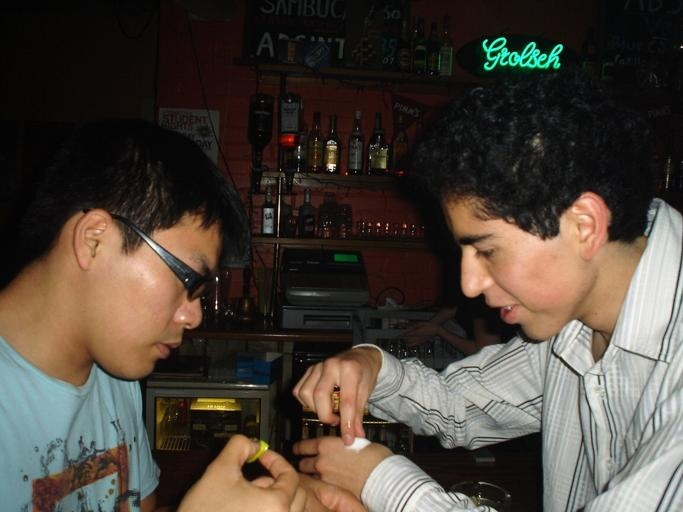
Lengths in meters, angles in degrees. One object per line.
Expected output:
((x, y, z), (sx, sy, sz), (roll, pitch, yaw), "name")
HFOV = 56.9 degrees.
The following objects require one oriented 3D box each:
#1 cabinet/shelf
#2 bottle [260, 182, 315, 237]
((-0.107, -0.359, 3.544), (1.997, 1.830, 0.597), (1, -35, -5), "cabinet/shelf")
((-0.358, -0.300, 4.156), (0.367, 0.368, 0.130), (1, 4, -21), "bottle")
